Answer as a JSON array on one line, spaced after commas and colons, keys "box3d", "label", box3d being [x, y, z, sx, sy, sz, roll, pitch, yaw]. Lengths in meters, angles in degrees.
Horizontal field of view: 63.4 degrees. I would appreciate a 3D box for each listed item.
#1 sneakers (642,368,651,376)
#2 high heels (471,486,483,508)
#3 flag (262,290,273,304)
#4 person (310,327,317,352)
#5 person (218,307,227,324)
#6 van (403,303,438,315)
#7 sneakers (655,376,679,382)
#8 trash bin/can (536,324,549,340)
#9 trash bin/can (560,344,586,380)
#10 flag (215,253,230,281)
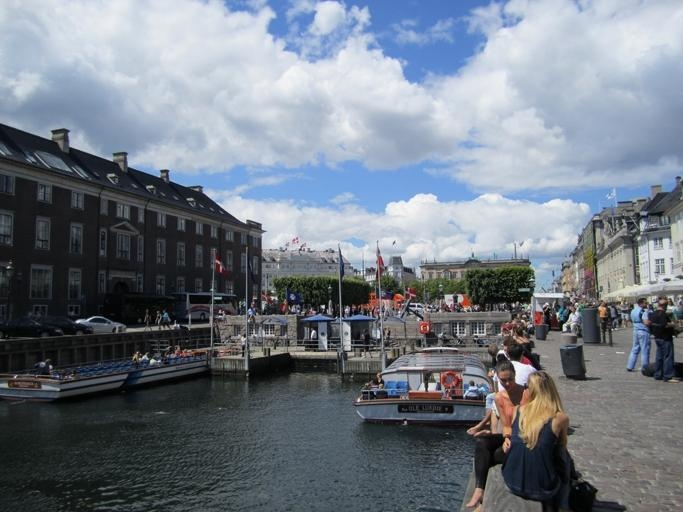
[{"box3d": [11.083, 4.268, 20.152, 0.300, 0.292, 0.262, 0, -6, -4], "label": "sneakers"}, {"box3d": [2.799, 5.091, 11.540, 0.150, 0.548, 0.231, 17, 11, 18], "label": "high heels"}, {"box3d": [-13.183, 7.389, 97.872, 0.787, 2.806, 6.482, -25, -2, -6], "label": "flag"}, {"box3d": [-2.594, 7.617, 50.899, 0.754, 2.104, 0.378, -1, 2, 11], "label": "person"}, {"box3d": [-12.982, 6.486, 59.685, 1.076, 1.543, 2.335, 0, -9, -6], "label": "person"}, {"box3d": [9.001, 6.499, 62.484, 3.021, 1.674, 1.913, -6, -1, 8], "label": "van"}, {"box3d": [11.368, 4.309, 19.377, 0.620, 0.293, 0.214, 4, -5, 42], "label": "sneakers"}, {"box3d": [13.646, 5.270, 37.626, 0.986, 1.148, 1.023, -1, 3, -4], "label": "trash bin/can"}, {"box3d": [8.665, 3.884, 20.790, 0.789, 1.446, 1.085, -1, 20, 32], "label": "trash bin/can"}, {"box3d": [-14.353, 1.465, 66.362, 0.309, 4.199, 3.415, 2, -3, -36], "label": "flag"}]
